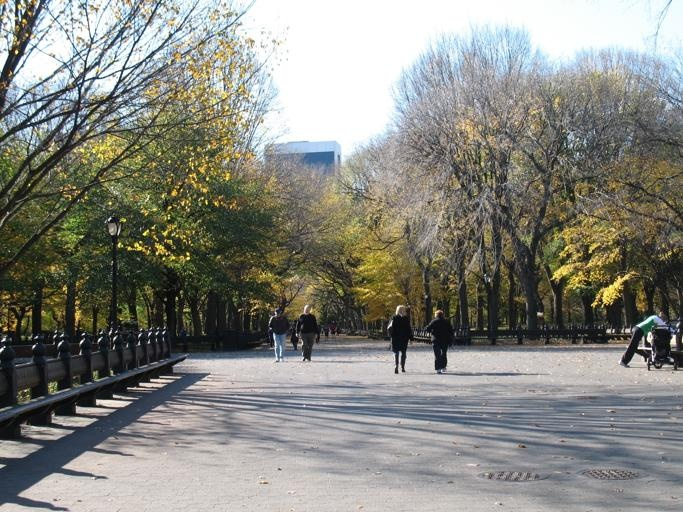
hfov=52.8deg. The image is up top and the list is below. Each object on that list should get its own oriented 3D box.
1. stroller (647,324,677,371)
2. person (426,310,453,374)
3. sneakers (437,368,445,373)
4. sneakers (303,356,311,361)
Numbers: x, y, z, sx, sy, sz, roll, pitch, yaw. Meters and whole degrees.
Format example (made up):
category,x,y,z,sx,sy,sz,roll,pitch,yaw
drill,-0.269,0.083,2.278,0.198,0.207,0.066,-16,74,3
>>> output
category,x,y,z,sx,sy,sz,roll,pitch,yaw
stroller,9.767,2.779,20.982,0.869,1.302,0.902,-2,-3,27
person,3.093,2.610,21.536,0.754,1.877,1.536,-1,-3,10
sneakers,3.039,3.478,21.058,0.115,0.171,0.380,-2,-14,3
sneakers,-1.451,4.254,28.739,0.258,0.299,0.148,-5,-3,18
